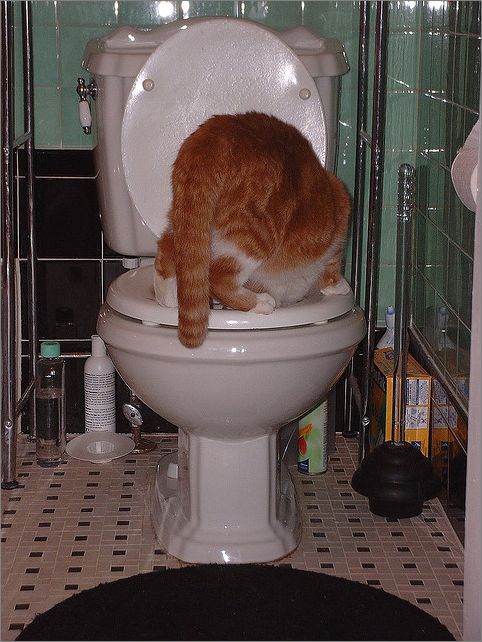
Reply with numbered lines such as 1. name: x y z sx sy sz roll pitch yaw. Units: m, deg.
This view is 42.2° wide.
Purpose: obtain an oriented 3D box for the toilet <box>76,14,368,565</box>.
1. toilet: -0.046 -0.170 1.243 0.435 1.097 0.876 -1 27 -2

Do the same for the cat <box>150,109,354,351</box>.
1. cat: 0.023 -0.151 0.908 0.152 0.323 0.466 3 11 26
